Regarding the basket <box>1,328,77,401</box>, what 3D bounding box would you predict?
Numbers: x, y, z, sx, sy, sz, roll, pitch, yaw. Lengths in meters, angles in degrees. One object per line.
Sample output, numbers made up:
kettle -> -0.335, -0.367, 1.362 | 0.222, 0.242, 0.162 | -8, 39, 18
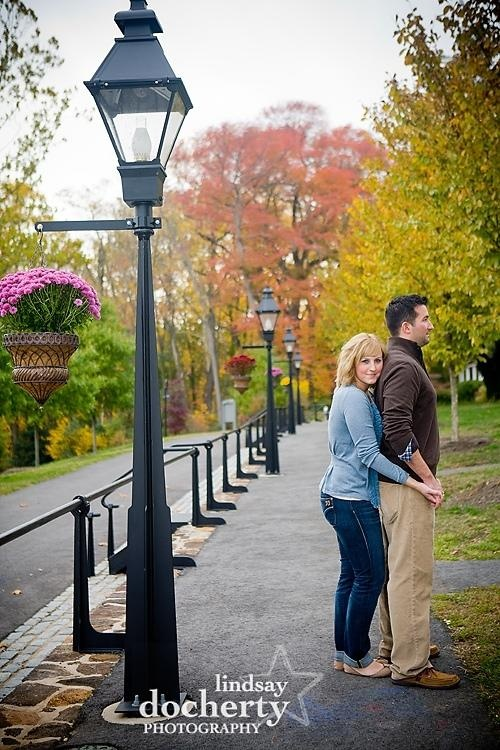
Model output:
basket -> -1.310, -0.052, 5.858 | 0.403, 0.424, 0.417 | 0, -2, 3

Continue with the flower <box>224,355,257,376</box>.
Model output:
flower -> -0.105, -0.186, 15.879 | 0.371, 0.340, 0.392 | -3, -1, 16

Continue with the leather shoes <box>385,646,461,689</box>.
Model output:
leather shoes -> 0.919, 1.553, 4.861 | 0.333, 0.216, 0.133 | -4, -1, 10

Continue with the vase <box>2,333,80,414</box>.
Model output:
vase -> -1.259, -0.035, 5.730 | 0.438, 0.458, 0.444 | 0, 0, -4

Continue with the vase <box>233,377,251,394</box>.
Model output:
vase -> -0.105, 0.159, 15.749 | 0.298, 0.298, 0.279 | 3, -7, -32

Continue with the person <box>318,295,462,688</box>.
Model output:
person -> 0.797, 0.600, 5.049 | 0.516, 2.117, 0.527 | -4, 0, 8

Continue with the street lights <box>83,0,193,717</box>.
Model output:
street lights -> -0.512, -0.136, 4.759 | 0.554, 3.538, 0.412 | -4, 0, -3

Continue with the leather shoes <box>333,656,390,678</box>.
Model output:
leather shoes -> 0.630, 1.619, 5.097 | 0.198, 0.048, 0.117 | -5, -5, 31
